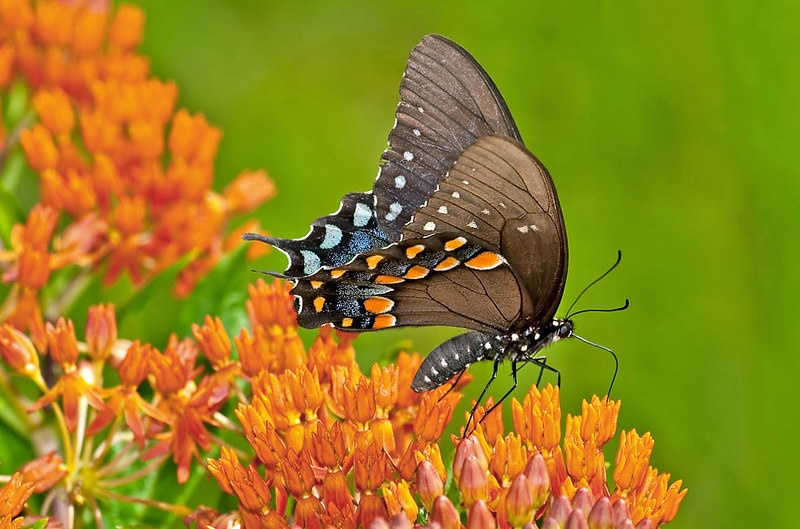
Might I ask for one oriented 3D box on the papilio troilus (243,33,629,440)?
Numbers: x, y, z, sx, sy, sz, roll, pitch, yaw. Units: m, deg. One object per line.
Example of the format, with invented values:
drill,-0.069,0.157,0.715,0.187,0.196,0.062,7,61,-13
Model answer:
papilio troilus,0.052,-0.028,1.526,0.461,0.695,0.403,1,10,-23
